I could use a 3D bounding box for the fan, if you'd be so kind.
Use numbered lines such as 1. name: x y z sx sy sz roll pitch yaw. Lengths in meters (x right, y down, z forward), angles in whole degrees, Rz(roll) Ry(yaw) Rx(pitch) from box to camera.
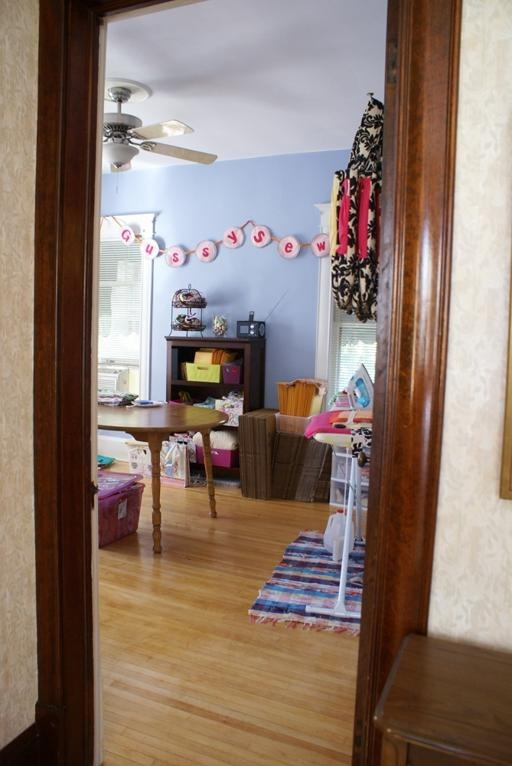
1. fan: -0.602 -1.400 3.245 0.616 0.311 0.629 3 -7 -26

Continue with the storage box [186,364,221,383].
1. storage box: -0.414 -0.074 4.842 0.332 0.148 0.056 5 5 37

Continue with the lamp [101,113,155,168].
1. lamp: -0.714 -1.285 3.352 0.356 0.181 0.365 2 -2 -3

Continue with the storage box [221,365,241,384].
1. storage box: -0.184 -0.063 4.712 0.155 0.155 0.110 3 3 25

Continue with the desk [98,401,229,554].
1. desk: -0.472 0.584 3.838 0.656 0.427 0.668 -12 -9 -4

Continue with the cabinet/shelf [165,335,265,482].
1. cabinet/shelf: -0.405 0.191 4.950 0.697 1.128 0.316 5 3 4

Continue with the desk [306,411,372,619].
1. desk: 0.404 0.665 3.004 0.318 0.760 0.828 2 -4 4
